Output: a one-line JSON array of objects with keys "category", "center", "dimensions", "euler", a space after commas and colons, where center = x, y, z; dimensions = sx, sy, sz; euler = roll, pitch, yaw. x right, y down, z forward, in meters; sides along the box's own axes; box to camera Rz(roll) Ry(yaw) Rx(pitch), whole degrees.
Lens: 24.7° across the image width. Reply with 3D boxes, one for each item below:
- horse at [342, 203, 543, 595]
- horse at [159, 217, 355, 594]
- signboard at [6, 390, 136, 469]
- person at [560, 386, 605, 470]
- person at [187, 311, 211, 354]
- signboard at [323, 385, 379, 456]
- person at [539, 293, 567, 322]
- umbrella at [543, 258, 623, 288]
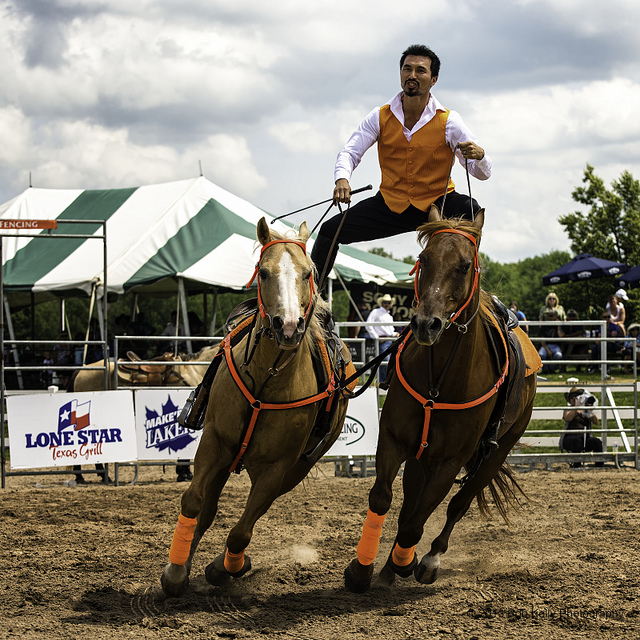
[{"category": "horse", "center": [1.081, 0.674, 12.793], "dimensions": [0.941, 3.380, 1.889], "euler": [8, 12, 33]}, {"category": "horse", "center": [-0.464, 0.722, 12.676], "dimensions": [1.168, 3.217, 1.574], "euler": [5, 11, 19]}, {"category": "signboard", "center": [-2.720, 1.196, 16.056], "dimensions": [1.376, 0.769, 0.338], "euler": [-2, 11, -17]}, {"category": "person", "center": [3.212, 1.327, 17.828], "dimensions": [0.548, 1.011, 0.901], "euler": [3, 11, 11]}, {"category": "person", "center": [-2.103, 0.164, 24.116], "dimensions": [0.293, 0.638, 1.198], "euler": [-16, 1, -8]}, {"category": "signboard", "center": [0.315, 1.081, 15.233], "dimensions": [0.899, 0.969, 0.038], "euler": [0, -4, 3]}, {"category": "person", "center": [3.985, -0.205, 25.061], "dimensions": [0.261, 0.493, 0.931], "euler": [-2, -8, 10]}, {"category": "umbrella", "center": [4.873, -0.835, 27.295], "dimensions": [0.774, 0.601, 1.609], "euler": [-3, 12, -22]}]
